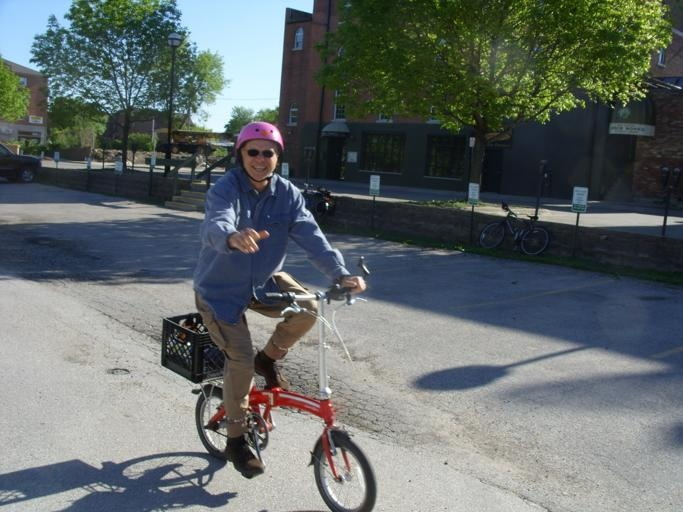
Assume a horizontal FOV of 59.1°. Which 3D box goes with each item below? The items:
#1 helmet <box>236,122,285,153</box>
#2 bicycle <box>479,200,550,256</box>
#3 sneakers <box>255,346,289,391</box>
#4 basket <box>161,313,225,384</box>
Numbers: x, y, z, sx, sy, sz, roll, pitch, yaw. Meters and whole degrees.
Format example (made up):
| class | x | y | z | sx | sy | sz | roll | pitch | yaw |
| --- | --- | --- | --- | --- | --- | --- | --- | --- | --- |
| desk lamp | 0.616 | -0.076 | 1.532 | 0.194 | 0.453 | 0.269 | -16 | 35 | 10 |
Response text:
| class | x | y | z | sx | sy | sz | roll | pitch | yaw |
| --- | --- | --- | --- | --- | --- | --- | --- | --- | --- |
| helmet | -0.644 | -0.961 | 4.745 | 0.231 | 0.303 | 0.238 | 2 | 6 | -6 |
| bicycle | 4.698 | -0.662 | 16.248 | 1.982 | 1.192 | 0.860 | 13 | -6 | 41 |
| sneakers | -0.606 | 0.925 | 5.006 | 0.437 | 0.177 | 0.139 | 39 | 21 | -39 |
| basket | -1.258 | 0.757 | 5.224 | 0.632 | 0.403 | 0.627 | 12 | 11 | 41 |
